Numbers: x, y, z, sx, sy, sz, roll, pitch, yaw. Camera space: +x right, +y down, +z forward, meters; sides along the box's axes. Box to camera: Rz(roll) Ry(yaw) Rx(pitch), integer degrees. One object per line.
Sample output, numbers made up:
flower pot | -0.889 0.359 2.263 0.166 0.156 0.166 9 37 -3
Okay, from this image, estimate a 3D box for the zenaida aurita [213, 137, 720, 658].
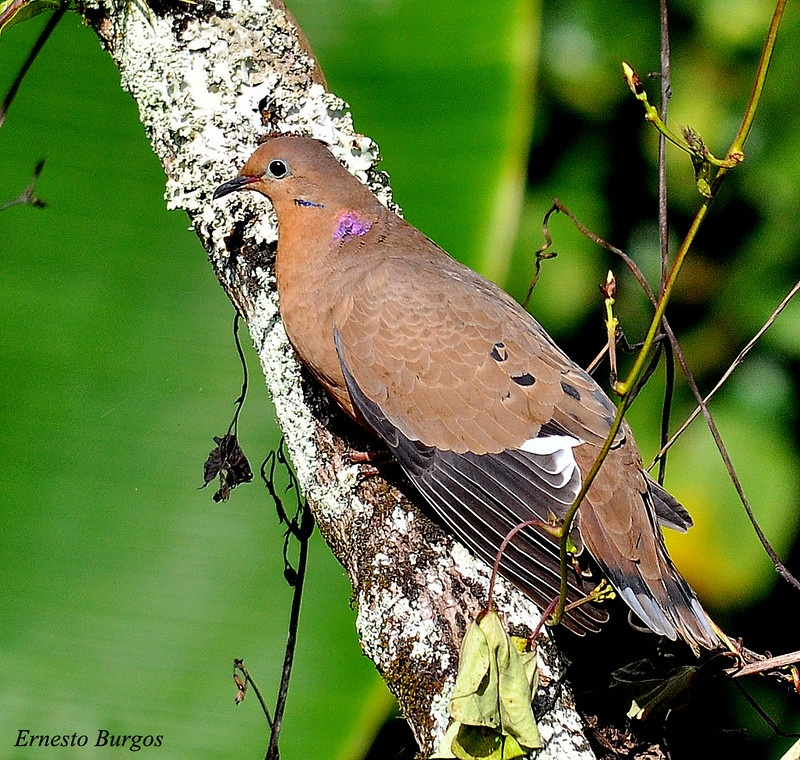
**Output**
zenaida aurita | 0.263 0.057 3.969 1.448 0.533 0.943 36 -50 18
